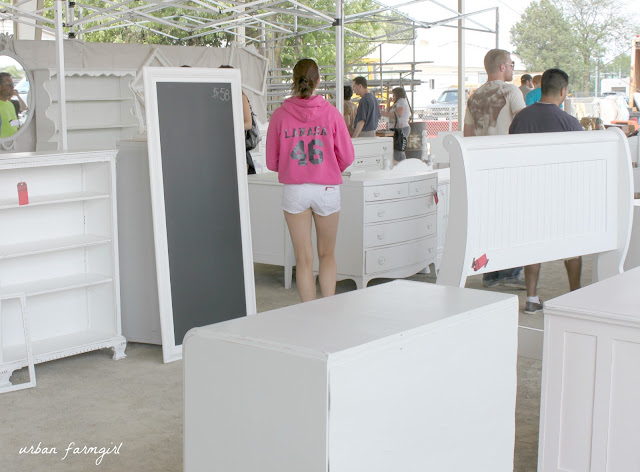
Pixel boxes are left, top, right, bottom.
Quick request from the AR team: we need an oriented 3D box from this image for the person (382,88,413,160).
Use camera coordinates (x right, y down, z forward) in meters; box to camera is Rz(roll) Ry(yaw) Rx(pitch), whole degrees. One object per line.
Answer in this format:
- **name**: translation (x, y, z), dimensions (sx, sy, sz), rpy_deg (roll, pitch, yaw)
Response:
- **person**: translation (1.565, -2.235, 11.067), dimensions (0.447, 1.462, 1.493), rpy_deg (0, 10, 8)

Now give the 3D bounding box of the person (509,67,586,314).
- **person**: translation (1.883, -0.348, 4.649), dimensions (0.614, 2.082, 0.776), rpy_deg (8, 13, 44)

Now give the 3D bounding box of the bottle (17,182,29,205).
- **bottle**: translation (-2.091, -0.300, 3.908), dimensions (0.066, 0.146, 0.182), rpy_deg (-6, 11, -26)

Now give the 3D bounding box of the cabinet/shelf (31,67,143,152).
- **cabinet/shelf**: translation (-3.839, -2.060, 9.051), dimensions (1.728, 1.248, 0.981), rpy_deg (-11, 14, -43)

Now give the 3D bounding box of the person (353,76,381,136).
- **person**: translation (0.751, -2.159, 9.220), dimensions (0.422, 0.983, 0.565), rpy_deg (0, 10, 12)

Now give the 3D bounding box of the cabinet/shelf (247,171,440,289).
- **cabinet/shelf**: translation (0.302, -0.129, 5.854), dimensions (1.424, 0.930, 1.427), rpy_deg (4, 9, 34)

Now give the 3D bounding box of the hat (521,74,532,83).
- **hat**: translation (3.375, -2.592, 9.052), dimensions (0.142, 0.151, 0.183), rpy_deg (-3, 5, -2)

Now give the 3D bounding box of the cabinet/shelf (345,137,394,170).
- **cabinet/shelf**: translation (0.708, -1.187, 7.962), dimensions (0.519, 0.602, 0.918), rpy_deg (5, 10, 35)

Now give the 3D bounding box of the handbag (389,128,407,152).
- **handbag**: translation (1.605, -1.946, 11.041), dimensions (0.354, 0.640, 0.461), rpy_deg (-3, 11, -3)

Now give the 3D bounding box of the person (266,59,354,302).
- **person**: translation (-0.074, -0.420, 4.348), dimensions (0.670, 1.885, 0.336), rpy_deg (-3, 10, -7)
